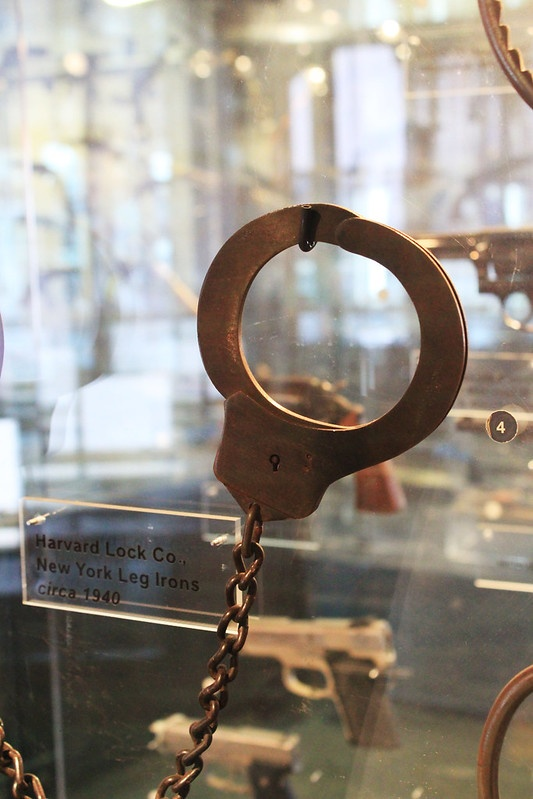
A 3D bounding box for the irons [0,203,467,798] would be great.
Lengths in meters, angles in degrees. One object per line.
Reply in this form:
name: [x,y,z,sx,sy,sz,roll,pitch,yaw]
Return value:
irons: [0.028,0.070,0.546,0.188,0.398,0.099,3,6,15]
